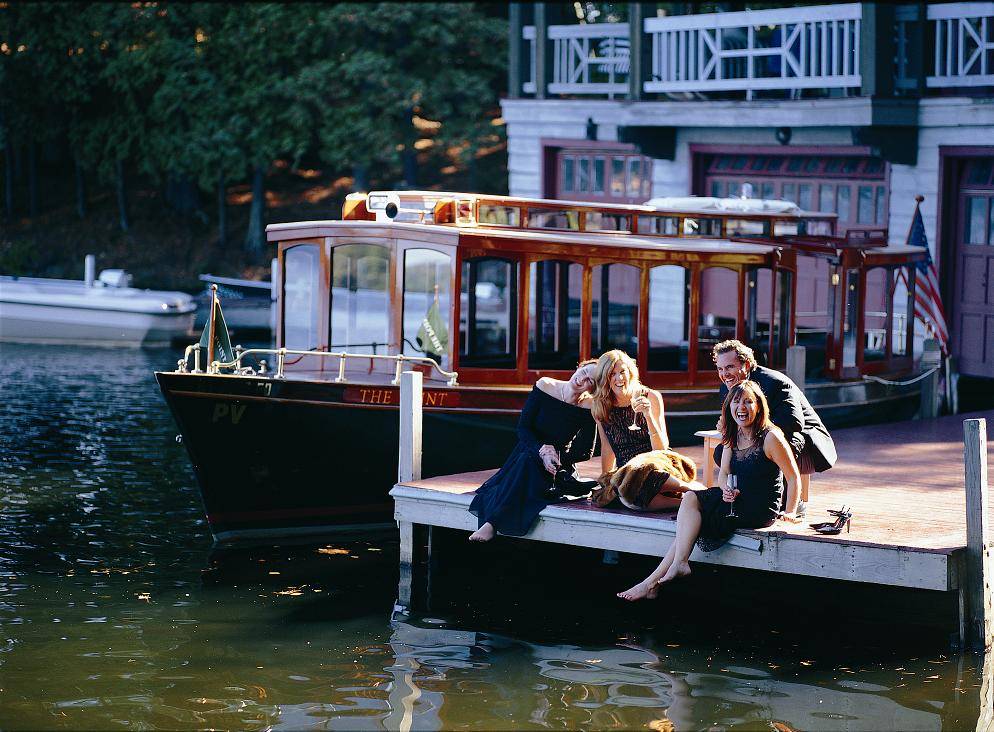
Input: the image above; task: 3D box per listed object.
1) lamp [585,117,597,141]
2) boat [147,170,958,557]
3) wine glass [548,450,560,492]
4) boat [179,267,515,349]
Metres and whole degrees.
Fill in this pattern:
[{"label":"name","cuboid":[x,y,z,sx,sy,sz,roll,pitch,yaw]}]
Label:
[{"label":"lamp","cuboid":[1.482,-3.691,33.524,0.184,0.350,0.377,-1,4,-4]},{"label":"boat","cuboid":[0.883,-0.133,27.603,9.995,2.806,4.624,-5,8,-35]},{"label":"wine glass","cuboid":[0.591,1.105,23.637,0.105,0.365,0.252,1,5,27]},{"label":"boat","cuboid":[-3.375,-1.197,42.330,5.079,0.953,2.379,-1,7,-8]}]
